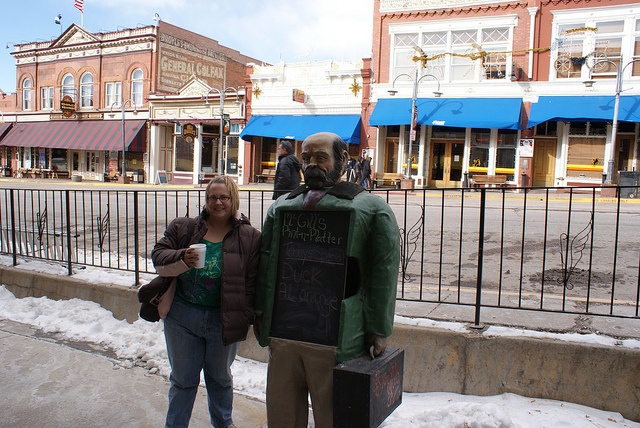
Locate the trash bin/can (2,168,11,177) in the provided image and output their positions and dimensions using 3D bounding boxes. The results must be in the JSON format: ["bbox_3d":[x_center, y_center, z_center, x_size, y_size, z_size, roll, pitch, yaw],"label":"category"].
[{"bbox_3d":[-25.138,-3.231,43.288,0.610,0.791,0.786,-1,2,6],"label":"trash bin/can"}]

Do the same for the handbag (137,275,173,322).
[{"bbox_3d":[-1.992,1.023,6.560,0.439,0.553,0.095,2,5,-1],"label":"handbag"}]

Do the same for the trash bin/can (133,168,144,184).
[{"bbox_3d":[-12.396,-2.594,36.785,0.944,0.909,1.716,3,-6,-17],"label":"trash bin/can"}]

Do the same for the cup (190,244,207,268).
[{"bbox_3d":[-1.429,0.499,6.487,0.260,0.303,0.241,1,6,0],"label":"cup"}]
